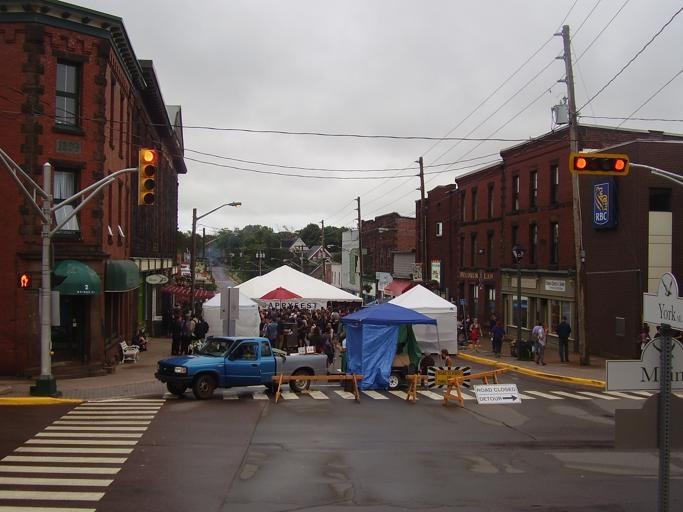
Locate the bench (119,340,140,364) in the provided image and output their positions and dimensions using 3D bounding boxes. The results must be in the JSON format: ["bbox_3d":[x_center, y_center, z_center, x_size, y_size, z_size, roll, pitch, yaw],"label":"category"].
[{"bbox_3d":[-9.737,4.485,32.982,0.869,1.328,0.974,0,1,6],"label":"bench"}]

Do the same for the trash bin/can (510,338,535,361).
[{"bbox_3d":[8.920,4.892,35.120,1.367,1.352,0.782,2,-4,-27],"label":"trash bin/can"}]

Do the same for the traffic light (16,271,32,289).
[{"bbox_3d":[-11.087,0.880,24.965,0.546,0.594,0.295,2,-3,-38],"label":"traffic light"}]

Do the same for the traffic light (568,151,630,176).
[{"bbox_3d":[7.252,-2.598,20.160,1.658,0.534,0.459,1,2,-16],"label":"traffic light"}]

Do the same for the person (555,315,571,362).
[{"bbox_3d":[10.646,4.108,34.387,0.584,1.967,1.474,2,2,17],"label":"person"}]
